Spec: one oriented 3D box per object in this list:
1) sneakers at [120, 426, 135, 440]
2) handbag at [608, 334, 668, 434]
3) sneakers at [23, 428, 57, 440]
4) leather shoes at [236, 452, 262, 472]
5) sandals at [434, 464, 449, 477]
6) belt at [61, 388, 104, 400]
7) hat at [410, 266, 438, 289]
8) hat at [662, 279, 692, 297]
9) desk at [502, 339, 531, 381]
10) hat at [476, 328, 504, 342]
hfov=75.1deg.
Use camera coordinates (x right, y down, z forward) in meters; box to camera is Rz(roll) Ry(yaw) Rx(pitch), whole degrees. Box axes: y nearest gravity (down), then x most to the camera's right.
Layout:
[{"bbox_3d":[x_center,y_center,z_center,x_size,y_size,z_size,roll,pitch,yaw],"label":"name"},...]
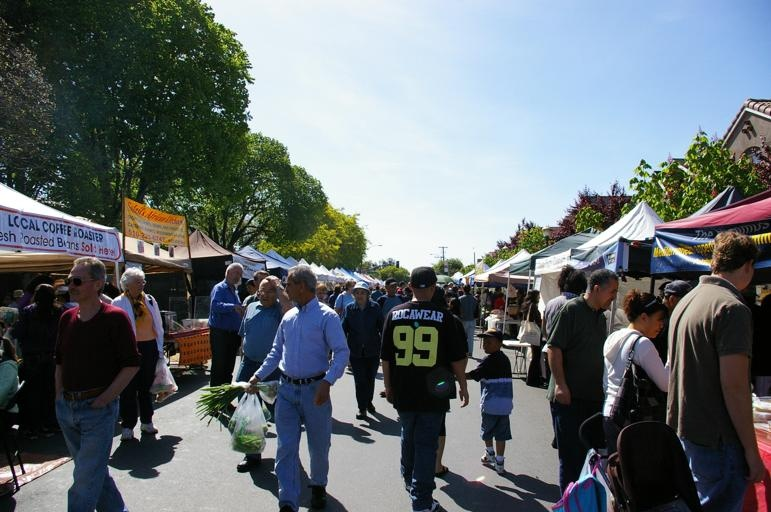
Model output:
[{"bbox_3d":[-3.863,2.676,7.542,0.094,0.126,0.274,8,-29,-14],"label":"sneakers"},{"bbox_3d":[2.674,1.430,5.427,0.546,1.065,0.724,4,-5,-7],"label":"handbag"},{"bbox_3d":[-5.260,2.703,7.727,0.492,0.216,0.173,1,-3,-7],"label":"sneakers"},{"bbox_3d":[-1.824,2.782,6.770,0.341,0.157,0.151,12,-10,-40],"label":"leather shoes"},{"bbox_3d":[0.779,2.854,6.683,0.115,0.122,0.267,-1,-8,42],"label":"sandals"},{"bbox_3d":[-3.059,1.403,5.093,0.386,0.135,0.085,4,-6,12],"label":"belt"},{"bbox_3d":[0.427,0.239,5.509,0.267,0.239,0.349,5,-6,1],"label":"hat"},{"bbox_3d":[4.097,0.431,7.043,0.341,0.220,0.503,2,5,31],"label":"hat"},{"bbox_3d":[3.731,2.782,13.793,1.028,0.905,1.124,9,-7,-3],"label":"desk"},{"bbox_3d":[1.506,1.071,7.186,0.317,0.172,0.238,6,-15,9],"label":"hat"}]
